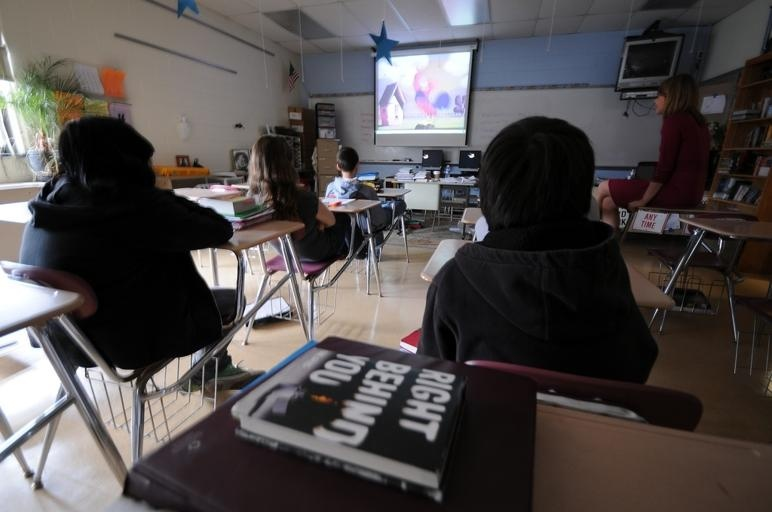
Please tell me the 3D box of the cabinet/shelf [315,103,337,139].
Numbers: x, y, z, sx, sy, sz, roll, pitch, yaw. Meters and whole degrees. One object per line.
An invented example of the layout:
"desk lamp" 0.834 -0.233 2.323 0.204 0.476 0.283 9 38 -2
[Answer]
"cabinet/shelf" -0.963 -2.326 8.295 0.365 0.642 0.227 9 24 23

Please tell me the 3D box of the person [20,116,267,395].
"person" -1.316 -0.070 2.464 0.998 1.243 0.525 -6 20 -17

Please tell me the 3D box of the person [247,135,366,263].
"person" -0.745 -0.402 3.778 0.805 0.963 0.959 -5 7 19

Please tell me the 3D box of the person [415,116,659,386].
"person" 0.726 0.191 2.429 1.079 1.720 0.983 -2 25 9

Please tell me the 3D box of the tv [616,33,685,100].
"tv" 3.694 -2.577 6.604 0.785 0.924 0.512 12 7 40

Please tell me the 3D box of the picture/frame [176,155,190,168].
"picture/frame" -2.536 -1.171 5.935 0.030 0.151 0.213 1 17 27

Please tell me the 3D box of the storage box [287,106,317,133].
"storage box" -1.445 -2.316 8.128 0.310 0.492 0.533 5 16 20
